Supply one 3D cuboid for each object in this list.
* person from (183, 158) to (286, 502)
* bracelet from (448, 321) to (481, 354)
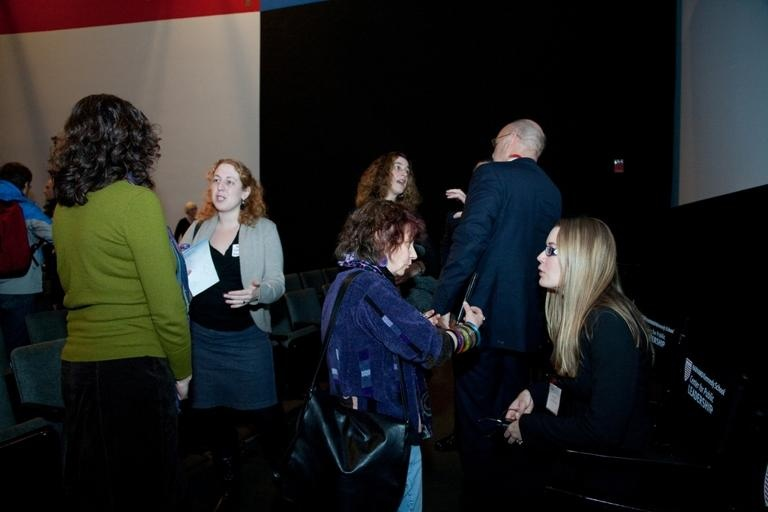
[{"bbox_3d":[-1.005,0.257,3.625,0.657,1.767,0.519,3,7,27],"label":"person"},{"bbox_3d":[0.440,0.438,3.016,0.153,0.173,0.084,18,-13,6],"label":"bracelet"}]
